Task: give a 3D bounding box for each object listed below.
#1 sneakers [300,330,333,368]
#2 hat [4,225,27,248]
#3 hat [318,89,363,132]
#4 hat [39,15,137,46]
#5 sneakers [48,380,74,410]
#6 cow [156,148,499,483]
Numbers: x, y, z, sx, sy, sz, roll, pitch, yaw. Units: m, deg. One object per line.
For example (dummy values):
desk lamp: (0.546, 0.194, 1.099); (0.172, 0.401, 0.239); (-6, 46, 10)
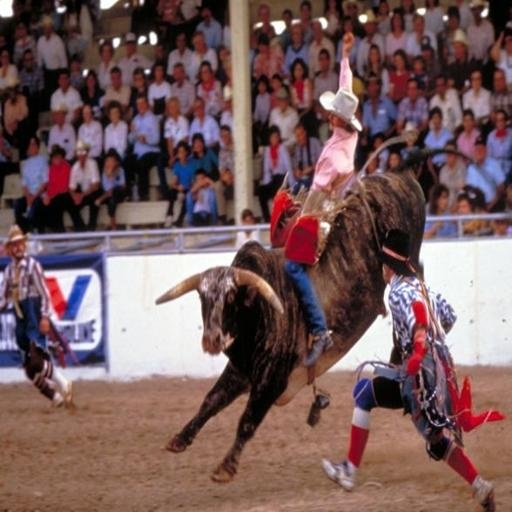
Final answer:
sneakers: (0.522, 0.812, 9.751); (0.277, 0.288, 0.096); (49, -16, -29)
hat: (-2.715, -0.241, 12.355); (0.229, 0.220, 0.326); (-4, 10, -9)
hat: (0.764, -1.321, 9.922); (0.352, 0.402, 0.285); (-2, 9, 5)
hat: (-2.661, -3.484, 17.080); (0.884, 0.347, 0.390); (-1, -19, 13)
sneakers: (-2.185, 1.605, 12.355); (0.159, 0.431, 0.138); (12, -17, -37)
cow: (0.531, 0.253, 10.217); (3.233, 2.215, 1.352); (-26, 34, -28)
